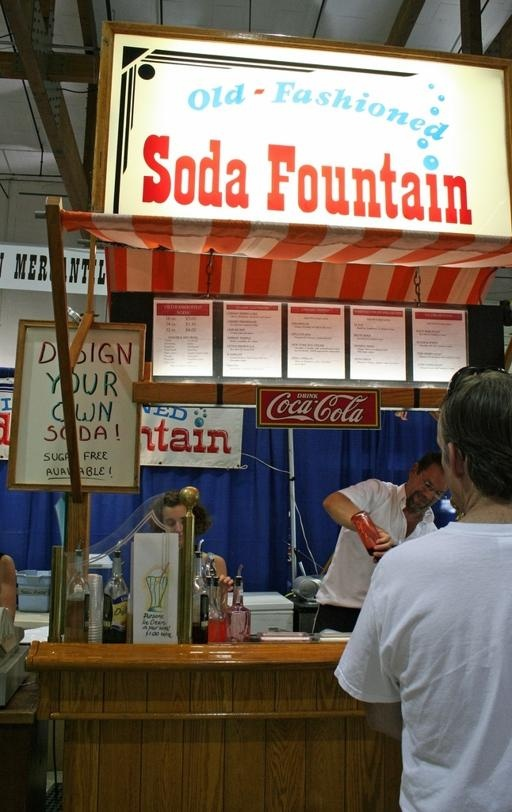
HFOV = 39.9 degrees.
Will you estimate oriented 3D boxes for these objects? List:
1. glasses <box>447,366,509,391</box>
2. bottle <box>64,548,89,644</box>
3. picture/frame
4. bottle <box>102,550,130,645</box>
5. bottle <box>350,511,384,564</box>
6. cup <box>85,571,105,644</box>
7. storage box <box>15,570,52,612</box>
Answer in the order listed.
[{"bbox_3d":[0.387,-0.049,1.228,0.062,0.021,0.068,0,30,-5],"label":"glasses"},{"bbox_3d":[-0.550,0.576,2.159,0.086,0.272,0.030,-3,-8,14],"label":"bottle"},{"bbox_3d":[-0.582,0.000,2.297,0.497,0.726,0.048,2,-6,-13],"label":"picture/frame"},{"bbox_3d":[-0.440,0.593,2.228,0.074,0.278,0.239,-1,-8,-3],"label":"bottle"},{"bbox_3d":[0.351,0.391,2.218,0.051,0.188,0.058,-13,-41,3],"label":"bottle"},{"bbox_3d":[-0.488,0.613,2.142,0.048,0.202,0.045,-1,-8,0],"label":"cup"},{"bbox_3d":[-1.645,1.371,5.197,0.274,0.288,0.098,-4,-8,15],"label":"storage box"}]
